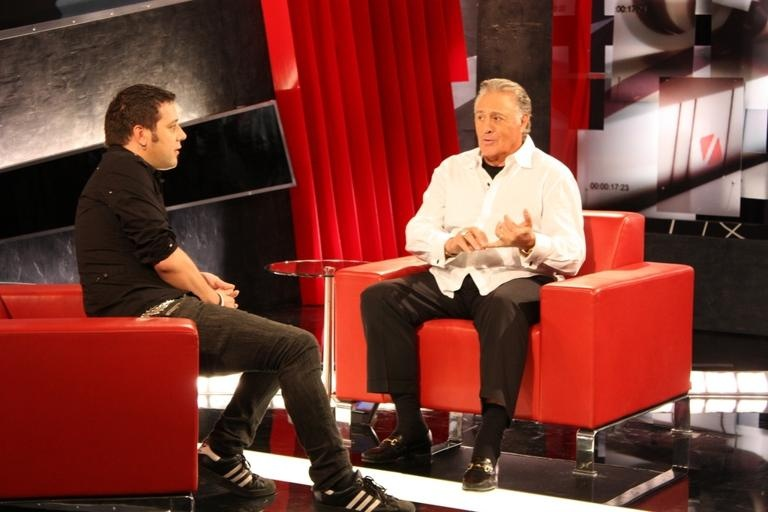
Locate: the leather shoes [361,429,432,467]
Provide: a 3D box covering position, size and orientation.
[{"bbox_3d":[0.084,0.834,2.983,0.339,0.128,0.120,1,-2,-20],"label":"leather shoes"}]

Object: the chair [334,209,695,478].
[{"bbox_3d":[0.658,0.313,3.412,1.064,0.956,1.431,-5,5,-44],"label":"chair"}]

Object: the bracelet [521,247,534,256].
[{"bbox_3d":[0.603,-0.020,2.889,0.033,0.046,0.071,-2,11,-14],"label":"bracelet"}]

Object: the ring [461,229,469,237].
[{"bbox_3d":[0.346,-0.100,2.880,0.030,0.008,0.027,-3,18,1],"label":"ring"}]
